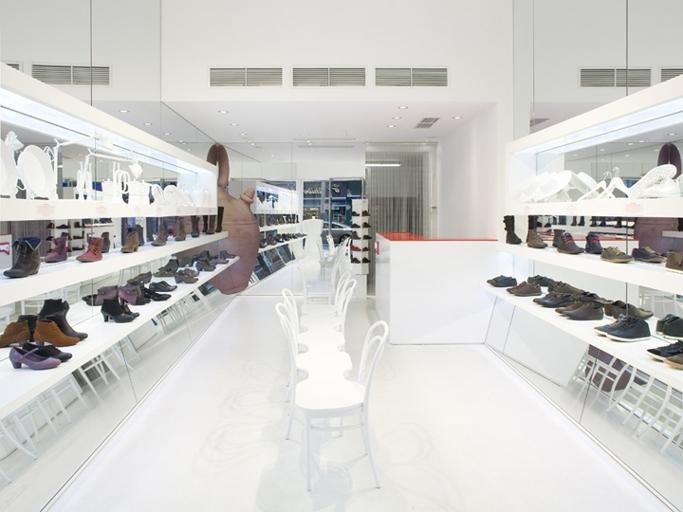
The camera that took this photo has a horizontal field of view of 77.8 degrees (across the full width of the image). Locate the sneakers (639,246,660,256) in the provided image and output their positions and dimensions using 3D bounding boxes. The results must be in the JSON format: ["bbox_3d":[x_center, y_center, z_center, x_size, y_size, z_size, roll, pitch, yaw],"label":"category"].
[{"bbox_3d":[2.362,-0.036,3.222,0.060,0.076,0.182,0,3,-6],"label":"sneakers"}]

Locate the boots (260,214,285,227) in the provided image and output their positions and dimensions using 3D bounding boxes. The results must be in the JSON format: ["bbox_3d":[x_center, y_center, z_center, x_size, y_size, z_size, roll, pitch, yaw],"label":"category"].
[{"bbox_3d":[-1.368,-0.687,8.230,0.424,0.234,0.199,0,1,-18],"label":"boots"}]

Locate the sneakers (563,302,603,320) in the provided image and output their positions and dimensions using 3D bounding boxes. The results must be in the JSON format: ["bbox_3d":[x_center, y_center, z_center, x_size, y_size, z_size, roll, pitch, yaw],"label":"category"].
[{"bbox_3d":[2.065,0.479,3.640,0.330,0.138,0.115,-1,1,4],"label":"sneakers"}]

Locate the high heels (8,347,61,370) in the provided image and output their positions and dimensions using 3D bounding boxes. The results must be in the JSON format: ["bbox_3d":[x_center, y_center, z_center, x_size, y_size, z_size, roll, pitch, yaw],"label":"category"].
[{"bbox_3d":[-1.981,0.665,2.756,0.282,0.131,0.135,2,2,-13],"label":"high heels"}]

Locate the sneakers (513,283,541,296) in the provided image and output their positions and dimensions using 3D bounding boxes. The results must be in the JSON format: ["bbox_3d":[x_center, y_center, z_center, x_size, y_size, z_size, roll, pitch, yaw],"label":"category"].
[{"bbox_3d":[2.010,0.376,4.583,0.188,0.073,0.155,-1,1,10],"label":"sneakers"}]

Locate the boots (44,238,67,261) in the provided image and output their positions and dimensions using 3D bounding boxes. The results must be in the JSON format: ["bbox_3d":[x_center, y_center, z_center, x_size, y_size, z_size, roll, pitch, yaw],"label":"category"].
[{"bbox_3d":[-2.094,-0.031,3.111,0.069,0.126,0.162,1,-1,2],"label":"boots"}]

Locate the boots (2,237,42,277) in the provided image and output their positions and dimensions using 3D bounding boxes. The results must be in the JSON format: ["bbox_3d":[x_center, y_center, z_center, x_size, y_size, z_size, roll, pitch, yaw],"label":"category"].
[{"bbox_3d":[-2.027,0.008,2.675,0.208,0.218,0.263,-10,17,-36],"label":"boots"}]

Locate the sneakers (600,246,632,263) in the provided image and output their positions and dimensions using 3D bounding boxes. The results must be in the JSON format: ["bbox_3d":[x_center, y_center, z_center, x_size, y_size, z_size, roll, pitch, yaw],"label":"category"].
[{"bbox_3d":[2.167,-0.004,3.332,0.088,0.084,0.228,-2,0,-7],"label":"sneakers"}]

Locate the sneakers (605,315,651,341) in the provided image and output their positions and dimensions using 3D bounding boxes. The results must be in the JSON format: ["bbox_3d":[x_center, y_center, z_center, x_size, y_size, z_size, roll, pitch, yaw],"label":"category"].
[{"bbox_3d":[2.161,0.542,3.188,0.266,0.113,0.152,-2,3,-2],"label":"sneakers"}]

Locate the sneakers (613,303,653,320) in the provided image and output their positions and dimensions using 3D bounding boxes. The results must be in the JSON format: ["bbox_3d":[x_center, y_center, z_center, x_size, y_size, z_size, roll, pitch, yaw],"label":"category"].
[{"bbox_3d":[2.319,0.437,3.341,0.258,0.102,0.162,0,3,15],"label":"sneakers"}]

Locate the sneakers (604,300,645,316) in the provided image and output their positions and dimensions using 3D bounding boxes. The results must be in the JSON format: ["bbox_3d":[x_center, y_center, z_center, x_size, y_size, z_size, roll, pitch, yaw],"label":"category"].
[{"bbox_3d":[2.314,0.425,3.428,0.255,0.101,0.159,0,2,21],"label":"sneakers"}]

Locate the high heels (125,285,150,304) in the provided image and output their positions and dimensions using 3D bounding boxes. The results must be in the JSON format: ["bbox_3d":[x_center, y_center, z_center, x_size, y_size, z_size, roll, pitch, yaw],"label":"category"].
[{"bbox_3d":[-1.992,0.379,4.100,0.139,0.198,0.435,0,-6,-28],"label":"high heels"}]

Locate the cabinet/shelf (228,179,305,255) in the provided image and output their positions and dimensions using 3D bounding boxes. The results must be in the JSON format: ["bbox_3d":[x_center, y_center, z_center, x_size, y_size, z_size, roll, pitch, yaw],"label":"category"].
[{"bbox_3d":[-1.420,-0.810,8.465,0.443,1.230,1.278,9,13,35],"label":"cabinet/shelf"}]

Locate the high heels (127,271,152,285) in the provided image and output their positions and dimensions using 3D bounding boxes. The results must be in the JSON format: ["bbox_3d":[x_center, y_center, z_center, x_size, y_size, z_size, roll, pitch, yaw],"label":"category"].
[{"bbox_3d":[-2.042,0.221,4.236,0.110,0.152,0.343,9,2,-7],"label":"high heels"}]

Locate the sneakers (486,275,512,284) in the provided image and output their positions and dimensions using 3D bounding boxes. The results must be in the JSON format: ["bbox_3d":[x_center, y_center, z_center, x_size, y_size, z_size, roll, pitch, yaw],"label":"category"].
[{"bbox_3d":[1.945,0.298,5.138,0.210,0.083,0.127,-1,-2,-14],"label":"sneakers"}]

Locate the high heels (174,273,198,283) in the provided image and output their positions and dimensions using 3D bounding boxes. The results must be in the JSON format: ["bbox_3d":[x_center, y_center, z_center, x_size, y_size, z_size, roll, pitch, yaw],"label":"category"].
[{"bbox_3d":[-1.905,0.268,5.141,0.179,0.082,0.109,-1,3,-7],"label":"high heels"}]

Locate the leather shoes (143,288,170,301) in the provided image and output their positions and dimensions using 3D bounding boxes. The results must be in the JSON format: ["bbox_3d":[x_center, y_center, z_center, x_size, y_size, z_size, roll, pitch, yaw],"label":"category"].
[{"bbox_3d":[-1.931,0.400,4.390,0.185,0.079,0.121,2,3,-14],"label":"leather shoes"}]

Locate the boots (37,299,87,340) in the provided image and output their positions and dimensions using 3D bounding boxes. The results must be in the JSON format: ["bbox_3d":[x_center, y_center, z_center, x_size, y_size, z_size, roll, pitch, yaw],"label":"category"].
[{"bbox_3d":[-2.029,0.480,3.108,0.380,0.288,0.148,11,24,14],"label":"boots"}]

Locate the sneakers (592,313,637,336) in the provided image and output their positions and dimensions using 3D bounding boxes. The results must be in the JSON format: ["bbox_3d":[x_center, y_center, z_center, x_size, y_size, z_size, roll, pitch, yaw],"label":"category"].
[{"bbox_3d":[2.099,0.522,3.199,0.246,0.099,0.161,0,-1,-3],"label":"sneakers"}]

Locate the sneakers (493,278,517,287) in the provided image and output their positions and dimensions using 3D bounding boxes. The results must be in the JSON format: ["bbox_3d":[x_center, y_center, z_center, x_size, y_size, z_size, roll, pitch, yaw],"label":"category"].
[{"bbox_3d":[1.961,0.319,5.094,0.128,0.081,0.212,0,3,-6],"label":"sneakers"}]

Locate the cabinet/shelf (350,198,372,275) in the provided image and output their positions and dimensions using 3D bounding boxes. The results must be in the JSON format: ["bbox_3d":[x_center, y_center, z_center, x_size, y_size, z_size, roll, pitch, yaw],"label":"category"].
[{"bbox_3d":[0.404,-0.226,8.540,0.417,1.793,0.447,10,-32,-14],"label":"cabinet/shelf"}]

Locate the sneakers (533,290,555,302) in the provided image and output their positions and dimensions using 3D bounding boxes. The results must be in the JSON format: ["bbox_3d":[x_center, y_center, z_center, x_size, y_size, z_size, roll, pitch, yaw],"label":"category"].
[{"bbox_3d":[2.049,0.398,4.253,0.228,0.097,0.082,-13,4,-28],"label":"sneakers"}]

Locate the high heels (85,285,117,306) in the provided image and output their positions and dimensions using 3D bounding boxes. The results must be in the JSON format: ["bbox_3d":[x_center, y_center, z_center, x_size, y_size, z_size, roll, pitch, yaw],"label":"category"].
[{"bbox_3d":[-2.067,0.336,3.655,0.118,0.076,0.187,8,15,26],"label":"high heels"}]

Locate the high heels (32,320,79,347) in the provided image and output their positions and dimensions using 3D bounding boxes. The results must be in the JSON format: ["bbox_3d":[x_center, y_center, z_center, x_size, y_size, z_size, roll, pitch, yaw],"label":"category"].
[{"bbox_3d":[-1.977,0.553,2.953,0.273,0.143,0.097,11,2,-29],"label":"high heels"}]
